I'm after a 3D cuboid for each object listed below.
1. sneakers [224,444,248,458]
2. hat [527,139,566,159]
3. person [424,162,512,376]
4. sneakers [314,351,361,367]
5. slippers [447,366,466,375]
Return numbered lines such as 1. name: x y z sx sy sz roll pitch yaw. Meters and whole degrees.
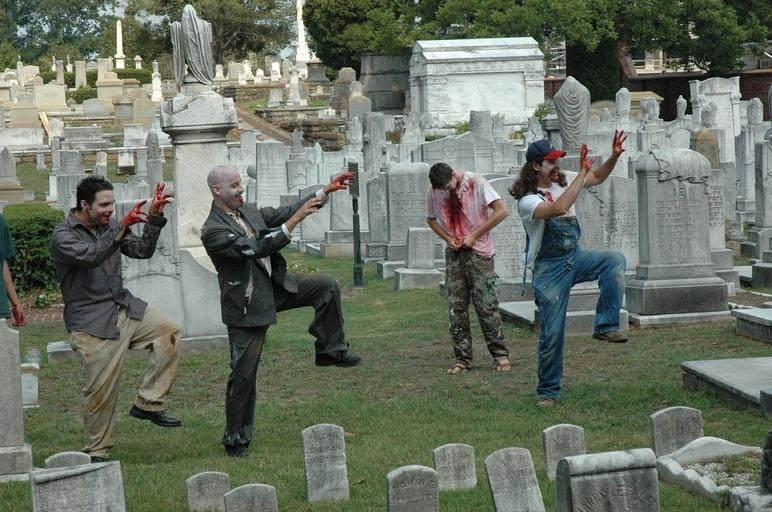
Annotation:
1. sneakers: -1.722 2.238 13.477 0.207 0.209 0.129 -5 0 15
2. hat: 1.960 -1.335 14.555 0.393 0.217 0.257 0 8 6
3. person: 1.070 0.155 15.321 1.033 2.730 0.454 -1 6 6
4. sneakers: -0.569 1.222 13.724 0.529 0.267 0.200 -3 11 -3
5. slippers: 0.921 1.498 15.336 0.197 0.061 0.113 3 -3 -38
